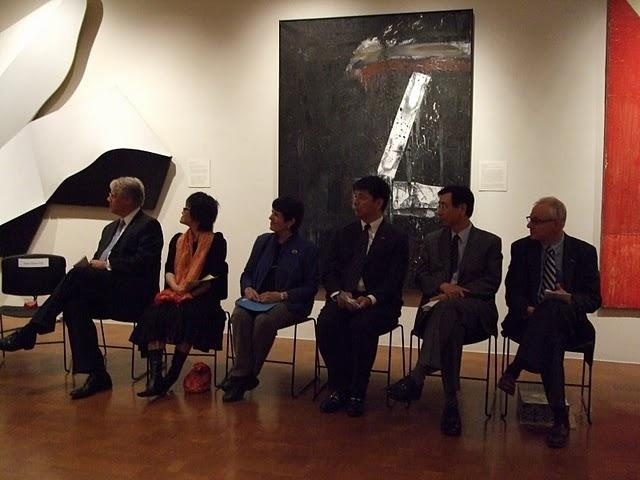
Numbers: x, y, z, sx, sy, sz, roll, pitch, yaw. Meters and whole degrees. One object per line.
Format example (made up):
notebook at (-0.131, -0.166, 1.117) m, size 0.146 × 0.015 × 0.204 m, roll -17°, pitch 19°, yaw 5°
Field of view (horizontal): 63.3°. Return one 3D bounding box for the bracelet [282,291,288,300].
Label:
bracelet at (-0.290, 0.461, 4.259) m, size 0.042 × 0.052 × 0.011 m, roll -2°, pitch -1°, yaw 16°

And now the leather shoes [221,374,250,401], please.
leather shoes at (-0.716, 1.188, 4.198) m, size 0.250 × 0.188 × 0.165 m, roll 3°, pitch 7°, yaw 21°

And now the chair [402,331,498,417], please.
chair at (1.194, 1.083, 4.542) m, size 0.635 × 0.851 × 0.783 m, roll -3°, pitch -10°, yaw 24°

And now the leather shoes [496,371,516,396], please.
leather shoes at (1.336, 1.024, 3.747) m, size 0.130 × 0.184 × 0.053 m, roll 19°, pitch -31°, yaw 2°

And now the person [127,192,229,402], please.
person at (-1.173, 0.434, 4.377) m, size 0.763 × 1.646 × 0.519 m, roll -2°, pitch 6°, yaw -20°

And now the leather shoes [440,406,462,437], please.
leather shoes at (0.952, 1.279, 3.729) m, size 0.148 × 0.169 × 0.227 m, roll 2°, pitch 7°, yaw 15°

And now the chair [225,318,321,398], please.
chair at (-0.461, 0.969, 4.871) m, size 0.669 × 0.722 × 0.875 m, roll 8°, pitch 5°, yaw -3°

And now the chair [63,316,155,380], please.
chair at (-2.060, 1.128, 5.371) m, size 0.902 × 0.536 × 0.575 m, roll 4°, pitch 14°, yaw 18°

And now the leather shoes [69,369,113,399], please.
leather shoes at (-1.859, 1.179, 4.255) m, size 0.124 × 0.207 × 0.398 m, roll -2°, pitch -5°, yaw 28°

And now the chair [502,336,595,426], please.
chair at (1.931, 1.168, 4.323) m, size 0.791 × 0.917 × 0.733 m, roll -2°, pitch -7°, yaw 17°

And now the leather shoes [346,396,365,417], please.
leather shoes at (0.273, 1.264, 3.962) m, size 0.143 × 0.120 × 0.131 m, roll 1°, pitch 6°, yaw 1°

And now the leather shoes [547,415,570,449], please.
leather shoes at (1.636, 1.313, 3.559) m, size 0.088 × 0.125 × 0.257 m, roll -4°, pitch 2°, yaw 29°

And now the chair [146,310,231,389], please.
chair at (-1.095, 1.102, 4.922) m, size 0.752 × 0.903 × 0.627 m, roll -4°, pitch -12°, yaw 15°

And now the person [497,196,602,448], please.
person at (1.688, 0.410, 3.803) m, size 0.676 × 1.404 × 0.721 m, roll 4°, pitch 7°, yaw 29°

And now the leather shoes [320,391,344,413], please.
leather shoes at (0.101, 1.283, 4.072) m, size 0.200 × 0.077 × 0.100 m, roll -19°, pitch 55°, yaw -42°

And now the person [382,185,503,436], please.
person at (1.030, 0.468, 3.946) m, size 0.651 × 1.725 × 0.809 m, roll 2°, pitch 6°, yaw 20°
